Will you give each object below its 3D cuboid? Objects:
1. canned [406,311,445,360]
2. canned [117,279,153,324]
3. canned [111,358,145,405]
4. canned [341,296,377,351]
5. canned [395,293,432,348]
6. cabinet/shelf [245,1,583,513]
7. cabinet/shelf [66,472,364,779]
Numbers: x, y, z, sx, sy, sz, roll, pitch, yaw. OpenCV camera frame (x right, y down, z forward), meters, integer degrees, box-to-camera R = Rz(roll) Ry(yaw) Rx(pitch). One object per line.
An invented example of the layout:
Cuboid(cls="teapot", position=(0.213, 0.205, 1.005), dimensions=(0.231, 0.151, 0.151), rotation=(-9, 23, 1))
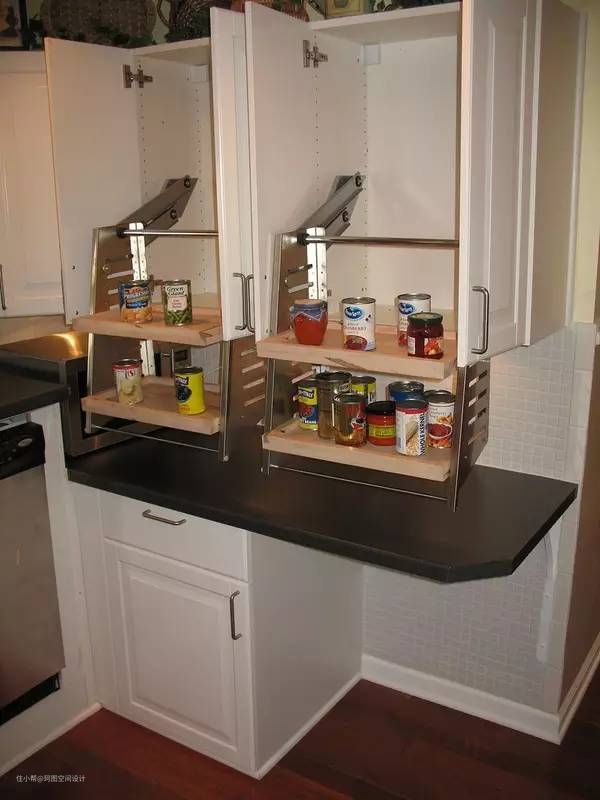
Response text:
Cuboid(cls="canned", position=(0.211, -0.107, 1.098), dimensions=(0.070, 0.078, 0.072), rotation=(1, 18, 7))
Cuboid(cls="canned", position=(-0.370, -0.232, 1.499), dimensions=(0.086, 0.098, 0.086), rotation=(-6, 25, -17))
Cuboid(cls="canned", position=(-0.391, -0.047, 1.546), dimensions=(0.088, 0.132, 0.092), rotation=(-4, 23, -11))
Cuboid(cls="canned", position=(0.109, -0.137, 1.200), dimensions=(0.059, 0.092, 0.061), rotation=(-1, 14, 6))
Cuboid(cls="canned", position=(0.216, -0.145, 1.207), dimensions=(0.063, 0.098, 0.065), rotation=(3, 19, 20))
Cuboid(cls="cabinet/shelf", position=(0.201, -0.285, 1.310), dimensions=(0.549, 0.955, 0.611), rotation=(6, 13, 37))
Cuboid(cls="cabinet/shelf", position=(-0.189, 0.510, 1.750), dimensions=(0.529, 0.684, 0.484), rotation=(6, 10, 39))
